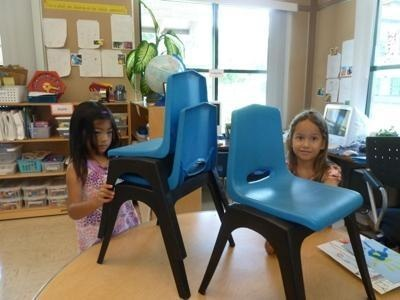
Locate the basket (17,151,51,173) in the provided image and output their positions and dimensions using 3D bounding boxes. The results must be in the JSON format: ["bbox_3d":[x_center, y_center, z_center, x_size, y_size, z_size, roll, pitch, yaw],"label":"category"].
[{"bbox_3d":[-1.970,0.133,3.539,0.299,0.184,0.339,-4,15,-10],"label":"basket"}]

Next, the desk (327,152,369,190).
[{"bbox_3d":[1.336,0.182,2.686,0.320,0.321,0.215,-5,14,-22],"label":"desk"}]

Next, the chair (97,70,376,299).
[{"bbox_3d":[0.101,0.084,1.877,1.636,1.341,0.673,3,8,28],"label":"chair"}]
